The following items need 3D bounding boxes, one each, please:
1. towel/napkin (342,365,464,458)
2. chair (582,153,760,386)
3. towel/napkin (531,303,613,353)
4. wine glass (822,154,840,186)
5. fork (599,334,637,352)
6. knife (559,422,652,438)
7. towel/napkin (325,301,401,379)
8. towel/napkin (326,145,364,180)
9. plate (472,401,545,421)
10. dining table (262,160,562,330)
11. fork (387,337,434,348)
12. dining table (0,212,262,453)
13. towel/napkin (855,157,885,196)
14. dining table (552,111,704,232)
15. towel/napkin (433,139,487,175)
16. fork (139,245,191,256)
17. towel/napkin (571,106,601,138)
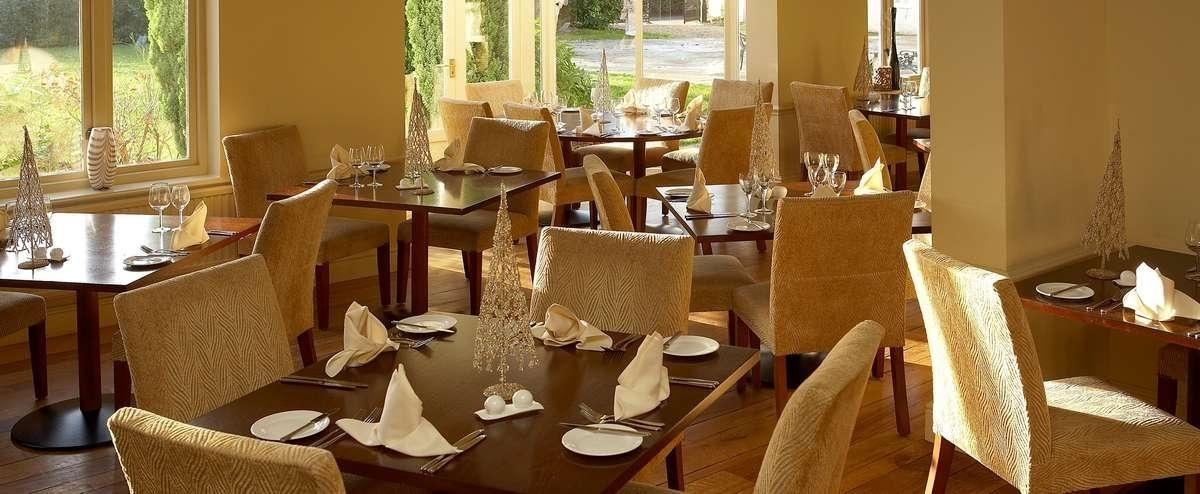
[{"bbox_3d":[-1.215,0.964,4.705,0.844,0.409,0.381,6,15,20],"label":"towel/napkin"},{"bbox_3d":[0.464,-0.318,7.483,1.699,2.080,1.219,-4,20,-1],"label":"chair"},{"bbox_3d":[-0.164,0.574,5.273,0.414,0.153,0.356,15,14,-4],"label":"towel/napkin"},{"bbox_3d":[2.095,-0.694,6.976,0.151,0.275,0.358,7,16,23],"label":"wine glass"},{"bbox_3d":[0.158,0.658,5.256,0.083,0.042,0.308,17,23,24],"label":"fork"},{"bbox_3d":[0.043,1.116,4.708,0.741,0.067,0.076,1,-4,14],"label":"knife"},{"bbox_3d":[-1.616,0.589,5.177,0.311,0.377,0.566,6,20,23],"label":"towel/napkin"},{"bbox_3d":[-2.619,-0.862,7.840,0.346,0.128,0.432,0,15,-26],"label":"towel/napkin"},{"bbox_3d":[-0.561,1.023,4.800,0.289,0.040,0.155,-8,9,-18],"label":"plate"},{"bbox_3d":[-1.654,0.098,7.474,1.970,1.032,1.906,5,12,24],"label":"dining table"},{"bbox_3d":[-1.298,0.652,5.278,0.399,0.052,0.064,1,29,27],"label":"fork"},{"bbox_3d":[-4.066,0.621,6.652,2.031,1.341,2.097,5,13,15],"label":"dining table"},{"bbox_3d":[2.544,-0.651,7.228,0.282,0.292,0.274,4,45,25],"label":"towel/napkin"},{"bbox_3d":[0.405,-0.834,9.761,1.626,0.899,1.553,-17,29,-34],"label":"dining table"},{"bbox_3d":[-1.617,-1.147,8.949,0.246,0.534,0.727,3,19,-30],"label":"towel/napkin"},{"bbox_3d":[-3.523,0.029,6.257,0.389,0.056,0.056,2,23,6],"label":"fork"},{"bbox_3d":[-0.142,-1.486,9.517,0.449,0.412,0.154,3,-27,0],"label":"towel/napkin"}]
